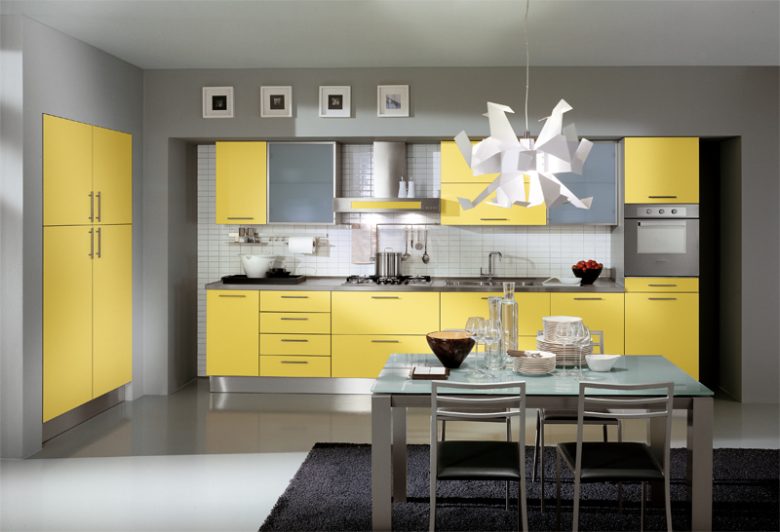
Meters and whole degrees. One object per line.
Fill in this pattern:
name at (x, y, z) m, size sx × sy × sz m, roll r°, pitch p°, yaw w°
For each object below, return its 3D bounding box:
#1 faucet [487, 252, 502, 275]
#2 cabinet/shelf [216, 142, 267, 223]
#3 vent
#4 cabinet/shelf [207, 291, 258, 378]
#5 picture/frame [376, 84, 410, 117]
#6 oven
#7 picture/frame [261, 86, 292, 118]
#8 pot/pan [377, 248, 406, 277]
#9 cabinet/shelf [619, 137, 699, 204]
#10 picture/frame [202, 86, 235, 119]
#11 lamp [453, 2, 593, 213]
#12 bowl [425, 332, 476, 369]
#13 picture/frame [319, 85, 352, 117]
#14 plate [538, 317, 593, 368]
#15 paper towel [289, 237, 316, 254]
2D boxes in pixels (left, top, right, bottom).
faucet at (1.188, -0.030, 7.701) m, size 0.163 × 0.260 × 0.076 m, roll 0°, pitch 14°, yaw 2°
cabinet/shelf at (-1.612, -0.911, 7.432) m, size 0.548 × 0.851 × 0.228 m, roll -3°, pitch 14°, yaw -9°
vent at (-0.024, -0.934, 7.677) m, size 1.460 × 1.092 × 0.737 m, roll 0°, pitch -2°, yaw 4°
cabinet/shelf at (-1.678, 0.708, 7.302) m, size 0.553 × 0.907 × 0.213 m, roll 1°, pitch 14°, yaw 4°
picture/frame at (0.047, -1.745, 7.130) m, size 0.365 × 0.324 × 0.035 m, roll 0°, pitch -2°, yaw 1°
oven at (2.789, -0.263, 7.373) m, size 0.926 × 0.777 × 0.680 m, roll 0°, pitch 0°, yaw -18°
picture/frame at (-1.190, -1.747, 7.195) m, size 0.348 × 0.305 × 0.033 m, roll 0°, pitch -1°, yaw 1°
pot/pan at (0.026, -0.030, 7.666) m, size 0.291 × 0.306 × 0.282 m, roll 0°, pitch 3°, yaw 2°
cabinet/shelf at (2.763, -0.925, 7.370) m, size 0.948 × 0.866 × 0.649 m, roll -1°, pitch -2°, yaw 10°
picture/frame at (-1.812, -1.751, 7.229) m, size 0.365 × 0.341 × 0.035 m, roll 0°, pitch 1°, yaw 0°
lamp at (1.065, -1.220, 5.252) m, size 0.949 × 1.733 × 1.915 m, roll 2°, pitch 14°, yaw 11°
bowl at (0.440, 0.590, 4.981) m, size 0.289 × 0.176 × 0.289 m, roll 0°, pitch 1°, yaw 0°
picture/frame at (-0.561, -1.743, 7.160) m, size 0.357 × 0.313 × 0.034 m, roll 0°, pitch 0°, yaw 1°
plate at (1.311, 0.559, 5.068) m, size 0.383 × 0.287 × 0.345 m, roll 0°, pitch 2°, yaw 20°
paper towel at (-0.988, -0.231, 7.651) m, size 0.329 × 0.196 × 0.172 m, roll 0°, pitch -4°, yaw 3°
